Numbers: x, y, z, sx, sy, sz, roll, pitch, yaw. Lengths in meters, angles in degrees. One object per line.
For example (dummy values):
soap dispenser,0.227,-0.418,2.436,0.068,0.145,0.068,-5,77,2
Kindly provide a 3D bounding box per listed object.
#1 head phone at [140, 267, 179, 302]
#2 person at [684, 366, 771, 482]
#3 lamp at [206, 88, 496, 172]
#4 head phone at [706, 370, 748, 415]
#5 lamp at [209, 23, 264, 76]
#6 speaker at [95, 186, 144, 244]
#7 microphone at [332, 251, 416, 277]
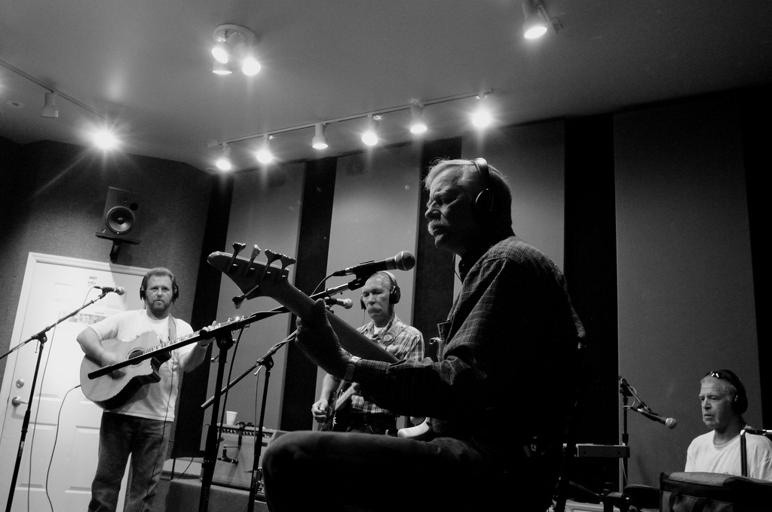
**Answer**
head phone,-2.200,0.283,5.692,0.446,0.417,0.186,0,-8,-14
person,2.676,1.275,4.614,0.380,0.796,0.635,6,-16,-4
lamp,-0.426,-1.321,6.606,3.458,0.363,0.684,-3,-16,25
head phone,2.728,1.083,4.767,0.144,0.330,0.375,-3,-4,-15
lamp,-1.384,-1.863,5.423,0.346,0.300,0.388,-1,-23,3
speaker,-3.169,-0.454,6.977,0.519,0.652,0.494,15,-19,-35
microphone,-0.075,0.068,4.851,0.692,0.177,0.183,-11,-1,5
